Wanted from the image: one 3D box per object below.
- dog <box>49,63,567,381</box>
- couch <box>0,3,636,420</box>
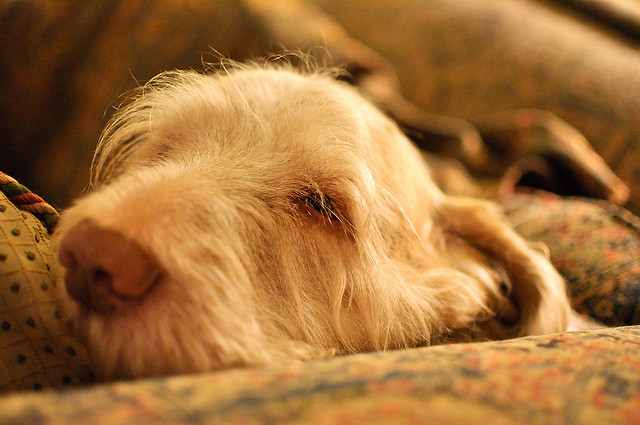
[{"bbox_3d":[-0.014,-0.021,2.413,1.394,0.979,0.824,20,56,-30],"label":"dog"},{"bbox_3d":[0.363,-0.097,2.356,1.744,0.432,1.599,1,47,-4],"label":"couch"}]
